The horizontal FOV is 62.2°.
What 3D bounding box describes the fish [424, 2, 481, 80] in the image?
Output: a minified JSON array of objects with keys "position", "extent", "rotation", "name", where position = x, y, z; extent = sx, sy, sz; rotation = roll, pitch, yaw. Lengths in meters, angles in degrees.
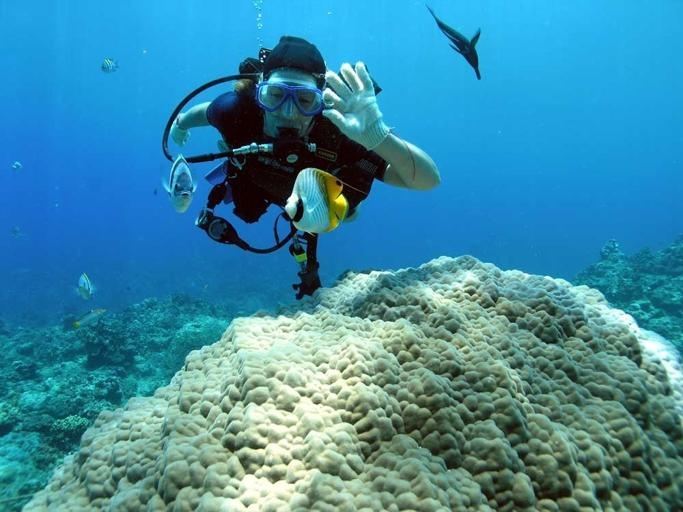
[{"position":[1.347,-2.332,6.403],"extent":[0.466,0.611,0.718],"rotation":[-3,18,3],"name":"fish"}]
